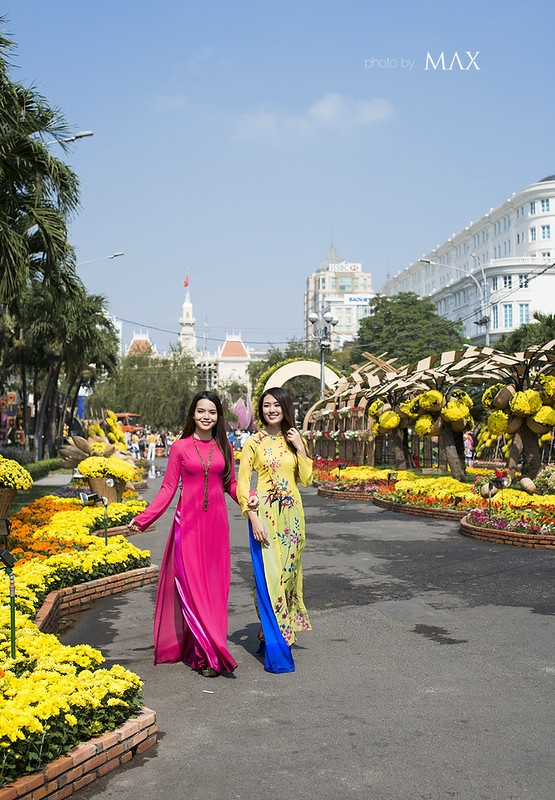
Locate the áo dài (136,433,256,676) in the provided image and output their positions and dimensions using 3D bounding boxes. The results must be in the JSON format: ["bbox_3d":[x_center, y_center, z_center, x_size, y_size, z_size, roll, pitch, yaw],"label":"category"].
[{"bbox_3d":[-0.631,1.049,5.015,0.684,1.609,0.647,0,-4,-2],"label":"áo dài"}]
